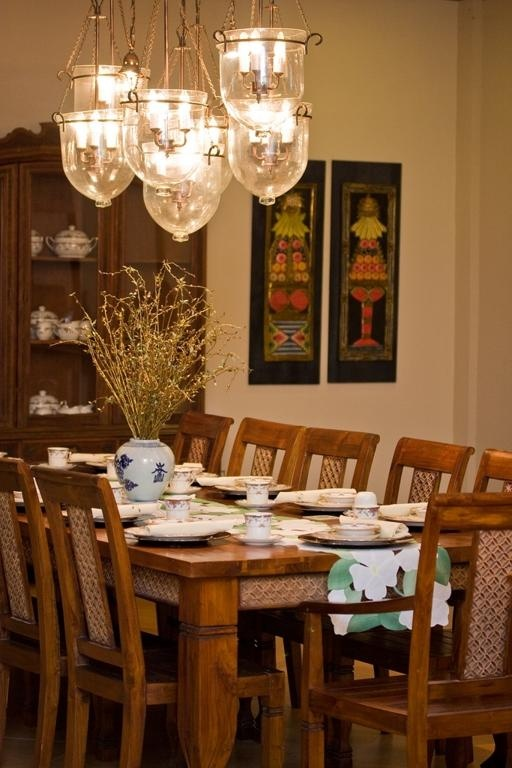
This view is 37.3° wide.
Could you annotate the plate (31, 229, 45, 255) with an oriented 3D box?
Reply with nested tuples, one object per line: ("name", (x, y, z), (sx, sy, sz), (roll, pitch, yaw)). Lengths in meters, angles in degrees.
("plate", (-1.222, -0.784, 4.239), (0.069, 0.145, 0.034), (-1, 12, -13))

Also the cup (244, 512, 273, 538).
("cup", (0.007, 0.330, 1.764), (0.060, 0.055, 0.058), (0, 2, 0))

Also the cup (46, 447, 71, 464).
("cup", (-0.796, 0.291, 3.070), (0.086, 0.064, 0.070), (6, -7, -34))

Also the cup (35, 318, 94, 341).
("cup", (-1.095, -0.304, 4.356), (0.373, 0.137, 0.260), (-1, 3, -17))

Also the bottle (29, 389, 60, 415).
("bottle", (-1.179, 0.105, 4.229), (0.143, 0.104, 0.141), (1, 0, 0))

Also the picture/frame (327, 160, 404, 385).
("picture/frame", (0.760, -0.774, 5.318), (0.560, 1.522, 0.351), (-1, 12, -10))

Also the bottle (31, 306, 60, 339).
("bottle", (-1.189, -0.337, 4.252), (0.184, 0.172, 0.139), (2, 1, 22))
